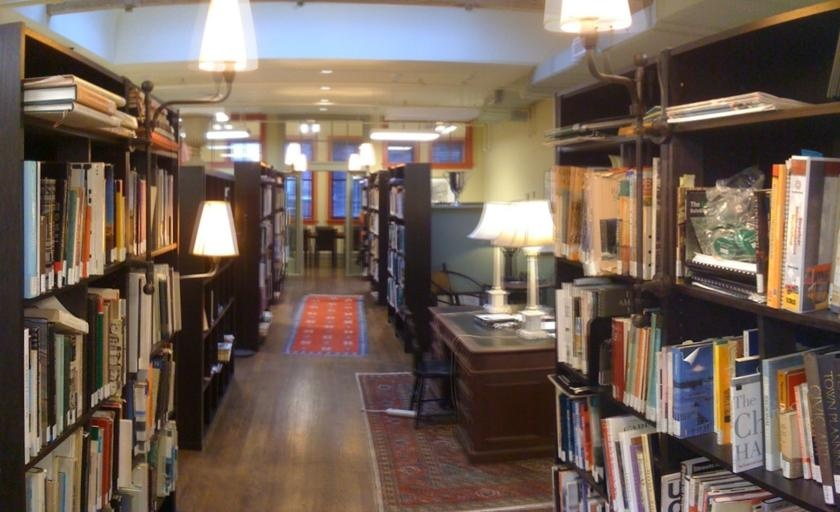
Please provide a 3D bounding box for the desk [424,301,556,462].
[{"bbox_3d":[0.682,1.106,5.561,0.820,0.765,1.595,-4,-3,-5],"label":"desk"}]

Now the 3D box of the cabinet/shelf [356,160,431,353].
[{"bbox_3d":[-0.298,-0.154,9.146,0.741,2.313,4.011,0,9,-3],"label":"cabinet/shelf"}]

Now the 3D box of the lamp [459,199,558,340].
[{"bbox_3d":[0.760,0.141,6.025,0.450,1.145,1.325,-2,4,-10],"label":"lamp"}]
